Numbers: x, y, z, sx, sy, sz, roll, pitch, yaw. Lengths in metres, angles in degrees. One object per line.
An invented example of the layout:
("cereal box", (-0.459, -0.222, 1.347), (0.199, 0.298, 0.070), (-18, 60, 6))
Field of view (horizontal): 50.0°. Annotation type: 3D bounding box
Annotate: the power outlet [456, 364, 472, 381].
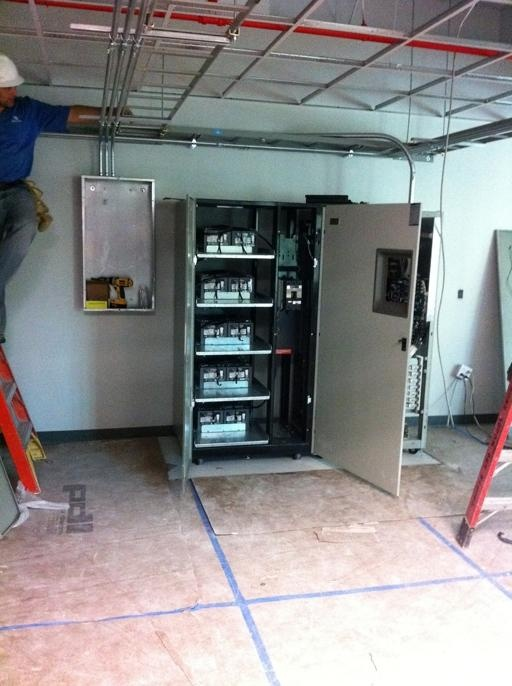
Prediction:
("power outlet", (2.117, 0.308, 5.668), (0.163, 0.150, 0.063), (8, 17, -27))
